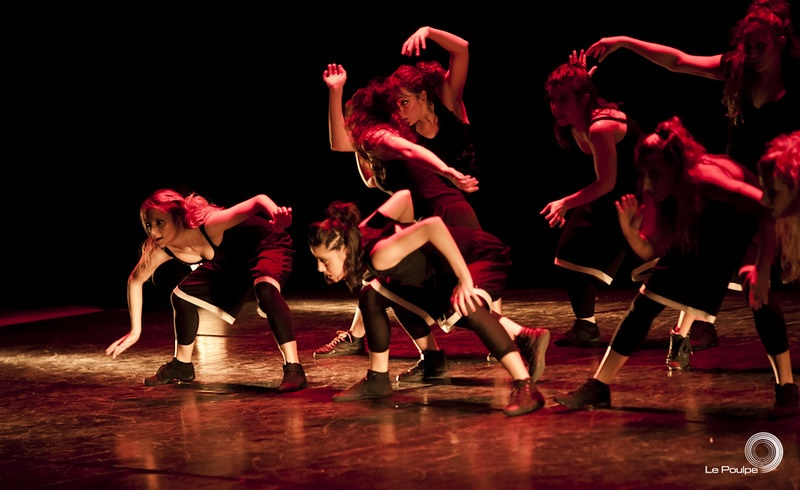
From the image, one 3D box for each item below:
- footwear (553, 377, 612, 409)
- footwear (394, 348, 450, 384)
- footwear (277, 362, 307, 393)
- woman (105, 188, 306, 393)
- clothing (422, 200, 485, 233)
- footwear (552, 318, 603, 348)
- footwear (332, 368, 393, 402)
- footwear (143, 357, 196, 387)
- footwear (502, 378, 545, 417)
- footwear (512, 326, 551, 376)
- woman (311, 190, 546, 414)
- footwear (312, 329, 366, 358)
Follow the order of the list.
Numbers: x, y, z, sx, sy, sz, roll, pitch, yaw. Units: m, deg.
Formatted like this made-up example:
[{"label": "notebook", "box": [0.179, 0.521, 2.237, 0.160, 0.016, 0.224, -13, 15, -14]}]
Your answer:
[{"label": "footwear", "box": [0.817, 0.654, 2.778, 0.318, 0.129, 0.103, 2, 2, -1]}, {"label": "footwear", "box": [0.141, 0.648, 3.300, 0.371, 0.173, 0.111, 0, -2, -2]}, {"label": "footwear", "box": [-0.560, 0.677, 3.193, 0.137, 0.121, 0.136, -4, 9, -4]}, {"label": "woman", "box": [-0.969, 0.239, 3.340, 1.394, 0.969, 0.946, -7, -8, 23]}, {"label": "clothing", "box": [0.286, -0.159, 3.332, 0.348, 0.190, 0.173, 1, 4, -34]}, {"label": "footwear", "box": [1.122, 0.554, 3.840, 0.379, 0.206, 0.124, 0, 0, 24]}, {"label": "footwear", "box": [-0.155, 0.675, 2.981, 0.357, 0.128, 0.105, 1, 2, -10]}, {"label": "footwear", "box": [-1.232, 0.700, 3.381, 0.312, 0.117, 0.104, 1, -2, -15]}, {"label": "footwear", "box": [0.539, 0.654, 2.713, 0.177, 0.142, 0.145, -1, 10, 11]}, {"label": "footwear", "box": [0.634, 0.496, 2.995, 0.200, 0.256, 0.105, -7, 10, 1]}, {"label": "woman", "box": [0.179, 0.275, 2.976, 1.196, 0.859, 0.770, 6, -9, 16]}, {"label": "footwear", "box": [-0.363, 0.627, 3.949, 0.386, 0.129, 0.128, 0, 1, -11]}]
